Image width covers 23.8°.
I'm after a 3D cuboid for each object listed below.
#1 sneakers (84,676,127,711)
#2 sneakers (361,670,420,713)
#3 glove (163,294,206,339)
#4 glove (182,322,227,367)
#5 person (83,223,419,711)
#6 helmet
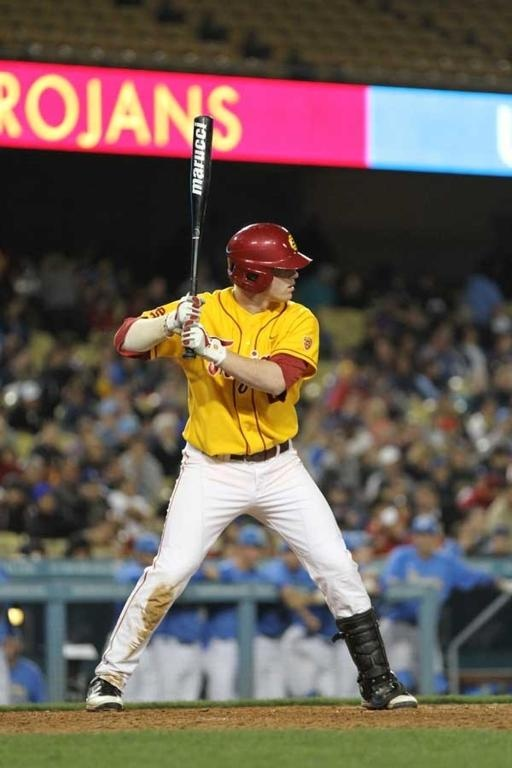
[{"bbox_3d":[-0.504,1.031,4.022,0.119,0.147,0.082,-8,19,-10],"label":"sneakers"},{"bbox_3d":[0.430,1.023,4.032,0.241,0.094,0.095,-5,-5,30],"label":"sneakers"},{"bbox_3d":[-0.236,-0.220,3.890,0.146,0.085,0.060,-40,25,-30],"label":"glove"},{"bbox_3d":[-0.165,-0.129,3.881,0.175,0.096,0.069,31,-10,-8],"label":"glove"},{"bbox_3d":[-0.054,0.286,4.129,0.955,1.598,0.715,-4,19,2],"label":"person"},{"bbox_3d":[0.040,-0.435,4.154,0.329,0.202,0.213,2,10,9],"label":"helmet"}]
